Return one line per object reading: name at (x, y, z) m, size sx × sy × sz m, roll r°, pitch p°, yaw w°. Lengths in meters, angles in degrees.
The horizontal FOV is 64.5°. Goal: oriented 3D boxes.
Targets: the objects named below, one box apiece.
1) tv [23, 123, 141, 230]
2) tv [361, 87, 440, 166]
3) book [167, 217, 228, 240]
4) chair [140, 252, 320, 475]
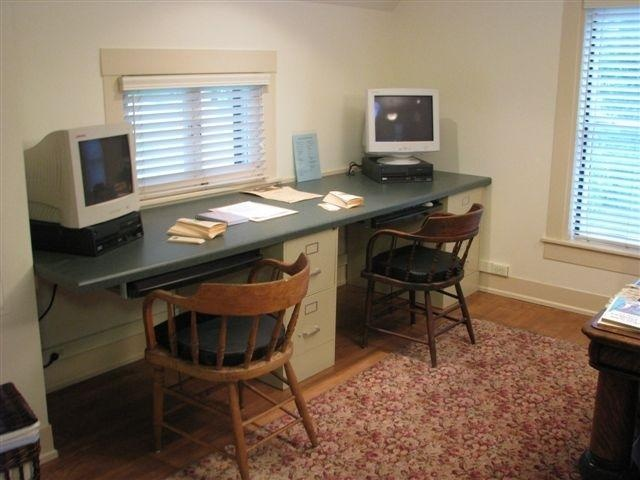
tv at (-1.038, -0.320, 2.450) m, size 0.527 × 0.457 × 0.509 m, roll 7°, pitch 14°, yaw 23°
tv at (0.610, -0.873, 3.757) m, size 0.561 × 0.482 × 0.101 m, roll -6°, pitch 20°, yaw -10°
book at (-0.620, -0.053, 2.532) m, size 0.163 × 0.044 × 0.160 m, roll 8°, pitch 15°, yaw 13°
chair at (-0.421, 0.594, 2.349) m, size 0.700 × 0.945 × 0.774 m, roll 14°, pitch 20°, yaw 32°
